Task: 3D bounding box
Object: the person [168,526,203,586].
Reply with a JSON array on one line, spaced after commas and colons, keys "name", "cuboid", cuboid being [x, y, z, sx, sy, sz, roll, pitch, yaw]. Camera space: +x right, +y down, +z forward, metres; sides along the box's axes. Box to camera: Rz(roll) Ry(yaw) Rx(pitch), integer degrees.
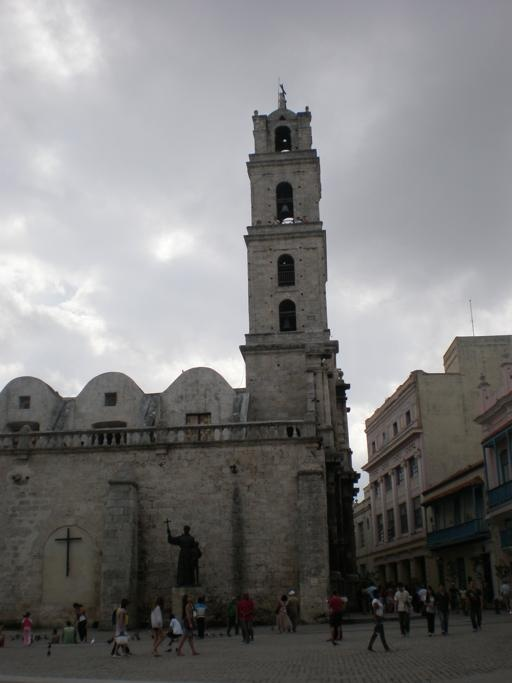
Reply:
[{"name": "person", "cuboid": [-1.985, 5.837, 18.756, 0.874, 1.609, 0.930, 2, -18, -7]}]
